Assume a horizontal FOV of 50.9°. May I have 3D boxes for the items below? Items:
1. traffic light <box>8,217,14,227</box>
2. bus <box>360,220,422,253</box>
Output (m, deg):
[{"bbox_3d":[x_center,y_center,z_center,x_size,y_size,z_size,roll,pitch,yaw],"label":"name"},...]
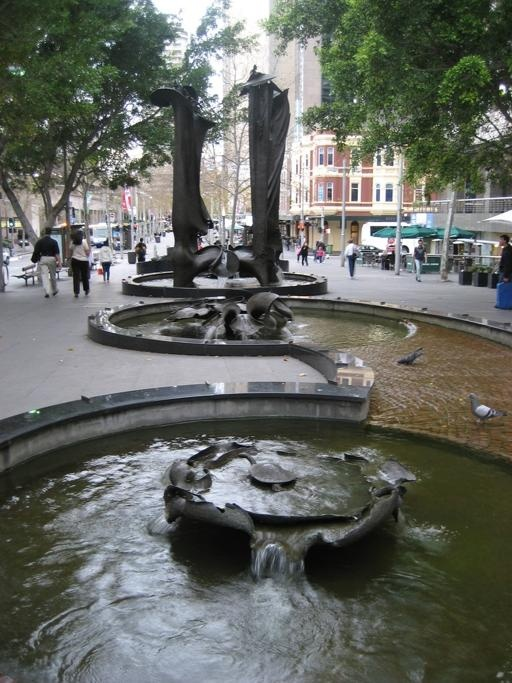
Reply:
[{"bbox_3d":[-30.707,-14.796,66.996,0.623,1.069,1.916,-4,11,-24],"label":"traffic light"},{"bbox_3d":[13.465,-9.953,51.297,6.669,3.289,3.236,-1,11,4],"label":"bus"}]
